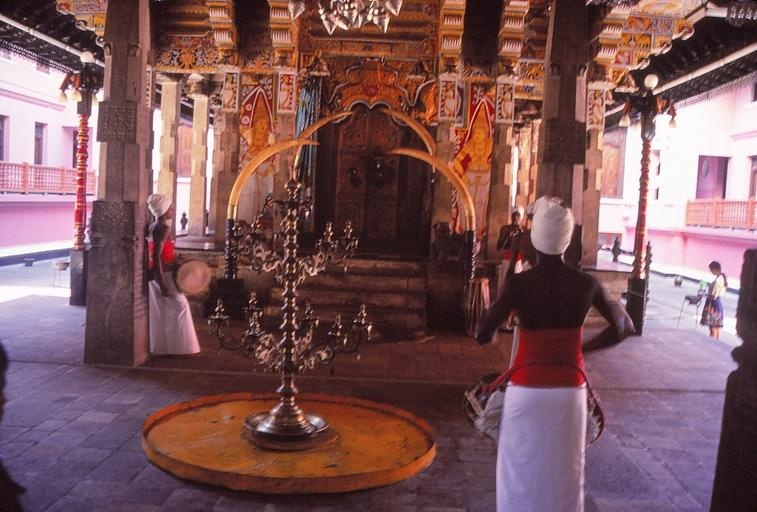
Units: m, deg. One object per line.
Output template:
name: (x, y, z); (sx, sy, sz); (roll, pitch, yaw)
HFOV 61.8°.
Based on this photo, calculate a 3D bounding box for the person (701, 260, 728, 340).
person: (6.295, 0.846, 11.867); (0.382, 1.564, 1.658); (9, 14, 28)

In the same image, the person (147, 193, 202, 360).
person: (-2.892, 0.271, 8.926); (0.655, 2.234, 0.491); (-1, 12, -14)
